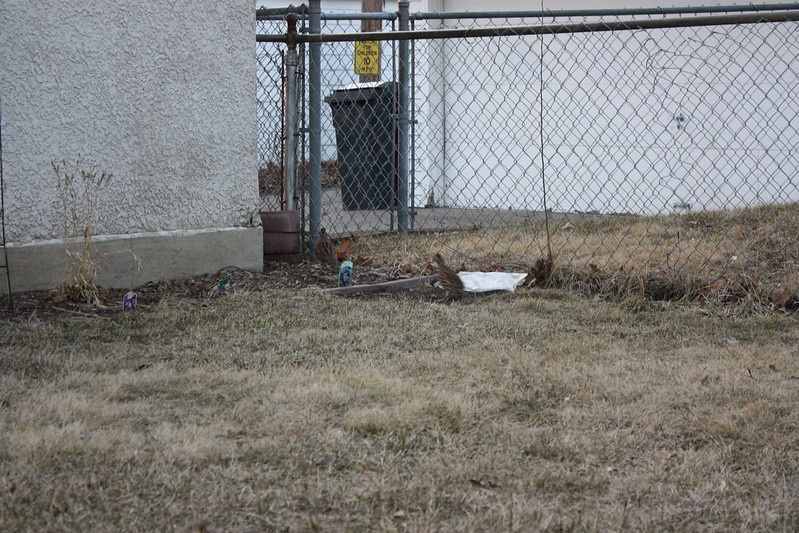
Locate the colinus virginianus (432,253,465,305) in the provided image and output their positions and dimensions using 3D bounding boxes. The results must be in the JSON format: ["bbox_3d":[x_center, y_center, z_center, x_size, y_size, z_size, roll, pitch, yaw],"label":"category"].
[{"bbox_3d":[0.367,0.083,6.786,0.204,0.298,0.301,-2,7,4],"label":"colinus virginianus"}]
